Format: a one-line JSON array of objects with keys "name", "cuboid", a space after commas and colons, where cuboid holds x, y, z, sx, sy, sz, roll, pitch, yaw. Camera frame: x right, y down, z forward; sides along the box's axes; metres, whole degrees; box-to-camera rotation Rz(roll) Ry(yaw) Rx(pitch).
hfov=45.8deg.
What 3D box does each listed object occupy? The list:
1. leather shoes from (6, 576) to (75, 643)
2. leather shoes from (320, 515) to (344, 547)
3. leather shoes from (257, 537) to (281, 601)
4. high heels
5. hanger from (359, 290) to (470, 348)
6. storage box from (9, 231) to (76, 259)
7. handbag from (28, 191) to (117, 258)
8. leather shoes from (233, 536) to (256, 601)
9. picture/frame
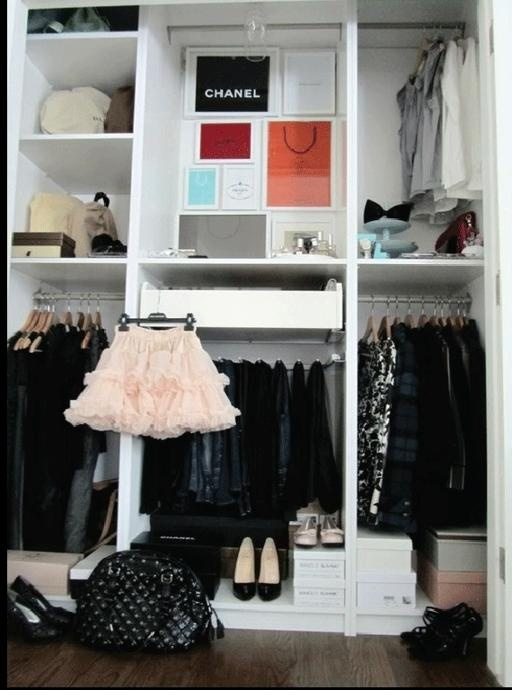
[{"name": "leather shoes", "cuboid": [-0.783, 0.933, 2.169, 0.312, 0.153, 0.123, 12, -11, 35]}, {"name": "leather shoes", "cuboid": [0.297, 0.732, 2.370, 0.066, 0.074, 0.190, -1, -12, 1]}, {"name": "leather shoes", "cuboid": [0.048, 0.855, 2.318, 0.058, 0.200, 0.055, -2, -48, 8]}, {"name": "high heels", "cuboid": [0.644, 0.987, 2.078, 0.215, 0.162, 0.094, -29, -62, 34]}, {"name": "hanger", "cuboid": [0.633, -0.127, 2.773, 0.613, 0.267, 0.199, 0, 13, -2]}, {"name": "storage box", "cuboid": [-0.877, -0.409, 2.502, 0.246, 0.114, 0.153, 3, -6, -24]}, {"name": "handbag", "cuboid": [-0.838, -0.568, 2.772, 0.137, 0.294, 0.328, 11, 10, 42]}, {"name": "leather shoes", "cuboid": [-0.043, 0.867, 2.333, 0.057, 0.198, 0.054, -2, -44, 6]}, {"name": "picture/frame", "cuboid": [0.044, -0.915, 2.956, 0.954, 1.565, 0.063, 0, -5, 1]}]
